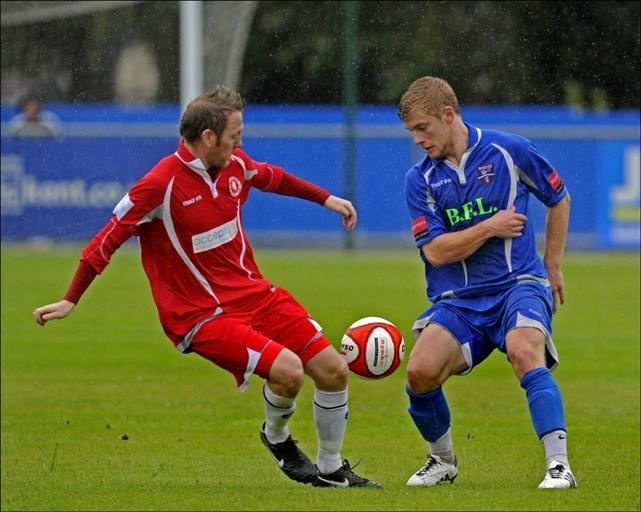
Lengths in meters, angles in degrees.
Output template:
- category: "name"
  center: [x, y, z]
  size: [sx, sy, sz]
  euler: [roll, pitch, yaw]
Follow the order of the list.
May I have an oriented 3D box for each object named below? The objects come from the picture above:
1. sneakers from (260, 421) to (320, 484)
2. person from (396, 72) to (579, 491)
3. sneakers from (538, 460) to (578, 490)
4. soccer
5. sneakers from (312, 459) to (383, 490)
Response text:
- category: "sneakers"
  center: [-0.206, 1.454, 7.377]
  size: [0.225, 0.589, 0.215]
  euler: [-39, -7, -30]
- category: "person"
  center: [1.088, 0.203, 7.146]
  size: [1.196, 2.843, 0.889]
  euler: [2, 9, 11]
- category: "sneakers"
  center: [1.566, 1.458, 6.840]
  size: [0.239, 0.192, 0.129]
  euler: [2, 9, 10]
- category: "soccer"
  center: [0.385, 0.690, 7.638]
  size: [0.453, 0.466, 0.448]
  euler: [-6, 0, -10]
- category: "sneakers"
  center: [0.178, 1.538, 7.315]
  size: [0.510, 0.237, 0.174]
  euler: [1, -4, 3]
